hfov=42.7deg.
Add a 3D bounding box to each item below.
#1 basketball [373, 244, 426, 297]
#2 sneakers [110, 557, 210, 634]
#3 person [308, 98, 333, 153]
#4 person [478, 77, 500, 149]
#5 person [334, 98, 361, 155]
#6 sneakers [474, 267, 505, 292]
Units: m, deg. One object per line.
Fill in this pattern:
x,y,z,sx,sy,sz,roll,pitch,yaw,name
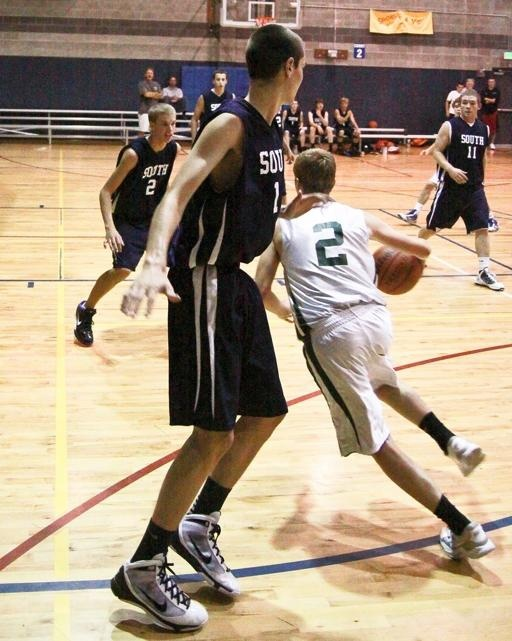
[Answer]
0.487,-0.178,2.364,0.205,0.174,0.149,7,20,9,basketball
-0.259,0.743,1.757,0.277,0.177,0.092,29,3,-11,sneakers
1.673,-5.036,16.868,0.683,1.213,1.025,3,15,5,person
6.555,-5.776,18.337,0.573,1.828,0.624,10,23,36,person
2.417,-5.030,17.128,0.781,1.401,0.650,3,15,6,person
2.131,-0.365,5.938,0.121,0.155,0.330,-11,14,-18,sneakers
